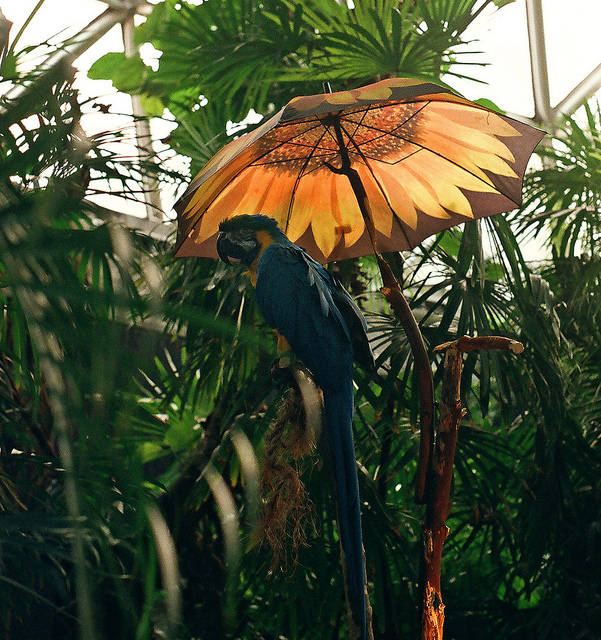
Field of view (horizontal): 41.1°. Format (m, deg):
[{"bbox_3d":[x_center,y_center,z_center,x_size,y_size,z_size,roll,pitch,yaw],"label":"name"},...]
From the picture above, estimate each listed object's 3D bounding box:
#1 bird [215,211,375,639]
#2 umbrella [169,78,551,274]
[{"bbox_3d":[-0.037,0.123,1.723,0.389,0.991,0.255,2,-34,4],"label":"bird"},{"bbox_3d":[0.128,-0.367,1.925,0.592,0.352,0.631,-8,-18,-29],"label":"umbrella"}]
